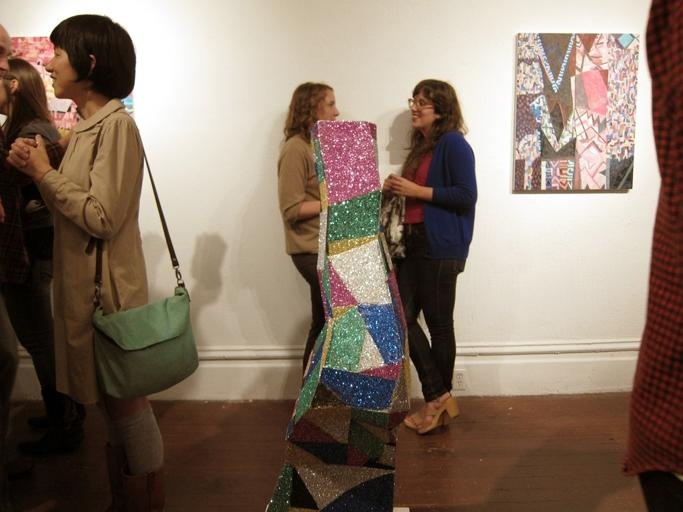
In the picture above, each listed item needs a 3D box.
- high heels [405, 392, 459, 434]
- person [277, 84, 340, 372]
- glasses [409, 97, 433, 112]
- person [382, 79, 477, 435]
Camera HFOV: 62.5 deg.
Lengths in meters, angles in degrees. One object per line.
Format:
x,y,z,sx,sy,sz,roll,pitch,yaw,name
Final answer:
0.482,0.835,2.987,0.277,0.137,0.175,-29,13,15,high heels
-0.179,-0.155,3.025,0.299,1.520,0.475,0,12,5,person
0.412,-0.805,2.982,0.090,0.031,0.091,2,15,-23,glasses
0.471,-0.006,3.026,0.471,1.818,0.483,6,14,31,person
